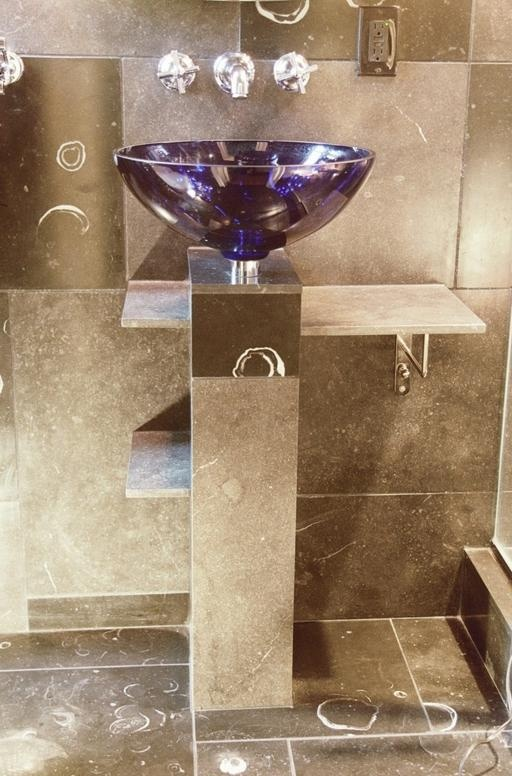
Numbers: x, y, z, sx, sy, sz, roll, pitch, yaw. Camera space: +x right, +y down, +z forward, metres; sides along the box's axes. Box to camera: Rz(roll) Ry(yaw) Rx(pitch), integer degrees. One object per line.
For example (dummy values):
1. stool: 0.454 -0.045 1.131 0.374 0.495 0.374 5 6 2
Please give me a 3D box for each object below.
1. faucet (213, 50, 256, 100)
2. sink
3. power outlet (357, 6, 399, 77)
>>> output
1. faucet: -0.045 -0.665 1.750 0.084 0.130 0.089 -3 -22 -10
2. sink: -0.054 -0.308 1.474 0.351 0.145 0.346 12 -7 -7
3. power outlet: 0.263 -0.738 1.764 0.114 0.114 0.155 -1 -73 0
